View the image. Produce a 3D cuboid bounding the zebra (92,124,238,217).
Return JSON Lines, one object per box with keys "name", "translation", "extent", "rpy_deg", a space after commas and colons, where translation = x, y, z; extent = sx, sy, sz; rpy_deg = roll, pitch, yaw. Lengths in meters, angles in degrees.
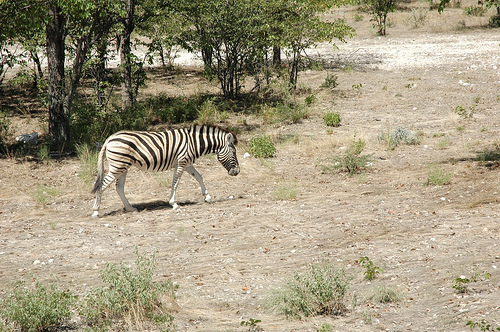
{"name": "zebra", "translation": [-2.727, 0.079, 23.797], "extent": [4.702, 2.827, 1.282], "rpy_deg": [-2, 6, -14]}
